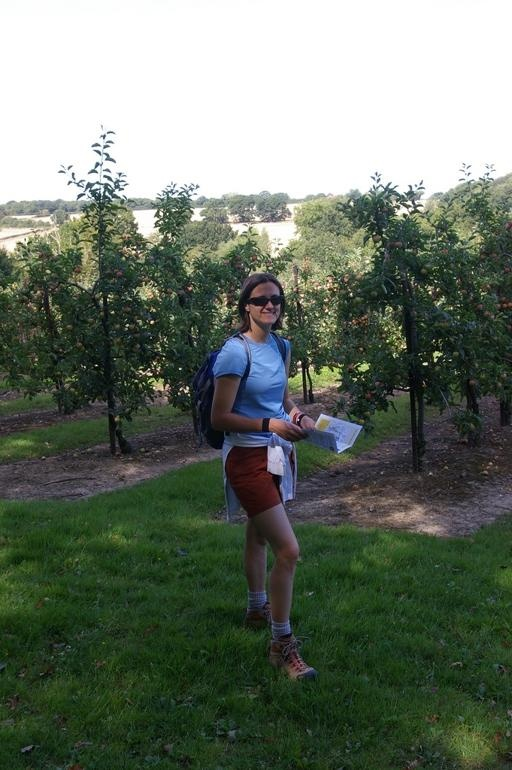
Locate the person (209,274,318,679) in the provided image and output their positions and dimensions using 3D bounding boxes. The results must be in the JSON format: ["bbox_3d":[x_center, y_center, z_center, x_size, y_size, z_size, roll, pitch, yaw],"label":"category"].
[{"bbox_3d":[0.067,0.463,3.604,0.541,2.193,0.636,-4,3,4],"label":"person"}]

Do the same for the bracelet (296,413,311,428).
[{"bbox_3d":[0.277,0.204,3.690,0.071,0.034,0.090,10,-13,13],"label":"bracelet"}]

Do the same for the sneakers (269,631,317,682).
[{"bbox_3d":[0.181,1.463,3.452,0.115,0.156,0.330,-8,-8,-25],"label":"sneakers"}]

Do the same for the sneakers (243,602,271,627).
[{"bbox_3d":[0.026,1.423,4.002,0.188,0.111,0.084,-5,8,-19],"label":"sneakers"}]
